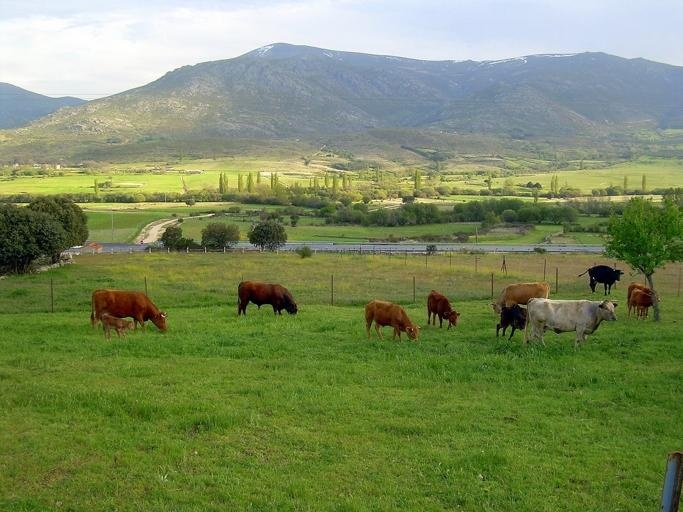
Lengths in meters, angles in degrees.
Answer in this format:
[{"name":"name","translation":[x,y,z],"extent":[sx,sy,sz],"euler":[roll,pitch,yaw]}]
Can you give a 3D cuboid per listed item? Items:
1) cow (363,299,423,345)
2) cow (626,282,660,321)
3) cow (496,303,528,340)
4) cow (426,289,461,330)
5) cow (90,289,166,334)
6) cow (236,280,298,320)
[{"name":"cow","translation":[2.425,3.121,36.423],"extent":[2.522,1.823,1.097],"euler":[1,5,8]},{"name":"cow","translation":[16.984,2.587,42.406],"extent":[1.259,1.663,2.278],"euler":[2,5,18]},{"name":"cow","translation":[8.438,3.189,37.262],"extent":[1.372,1.644,1.534],"euler":[1,5,12]},{"name":"cow","translation":[5.316,2.778,40.092],"extent":[1.365,1.762,2.461],"euler":[0,5,-7]},{"name":"cow","translation":[-10.580,2.724,36.729],"extent":[3.365,2.157,3.003],"euler":[13,16,41]},{"name":"cow","translation":[-3.996,2.328,42.307],"extent":[2.575,2.094,2.647],"euler":[7,11,26]}]
